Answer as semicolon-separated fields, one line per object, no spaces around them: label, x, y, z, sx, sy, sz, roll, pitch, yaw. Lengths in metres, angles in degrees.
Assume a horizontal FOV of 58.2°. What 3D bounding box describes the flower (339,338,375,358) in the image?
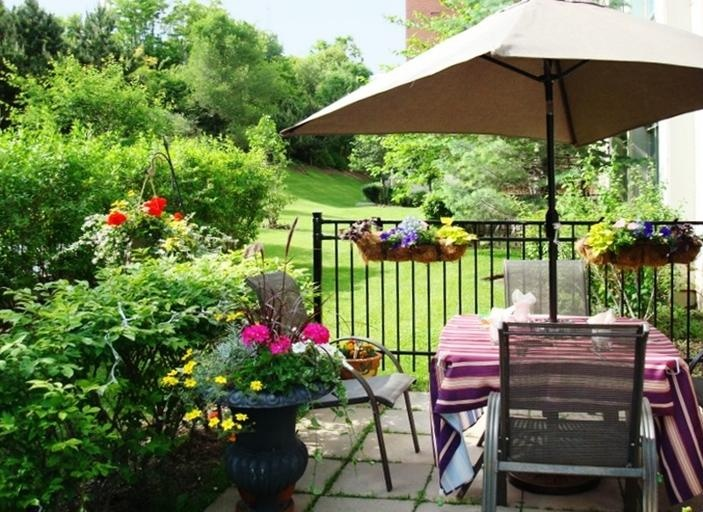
flower;0.042;0.790;5.271;0.230;0.137;0.259;2;0;7

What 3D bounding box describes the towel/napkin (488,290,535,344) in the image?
towel/napkin;1.018;0.364;4.039;0.334;0.345;0.346;-2;2;5

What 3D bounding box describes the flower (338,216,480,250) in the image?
flower;0.471;-0.184;4.888;0.946;0.283;0.382;-1;6;3

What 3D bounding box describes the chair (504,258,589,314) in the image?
chair;1.523;0.227;5.086;0.446;0.669;0.505;0;-5;6

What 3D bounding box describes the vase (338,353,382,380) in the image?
vase;0.076;0.889;5.129;0.295;0.217;0.303;-3;0;-7

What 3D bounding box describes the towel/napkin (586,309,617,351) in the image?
towel/napkin;1.338;0.405;3.381;0.156;0.239;0.139;1;1;35

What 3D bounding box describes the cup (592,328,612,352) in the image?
cup;1.243;0.424;3.138;0.092;0.118;0.052;1;1;18
